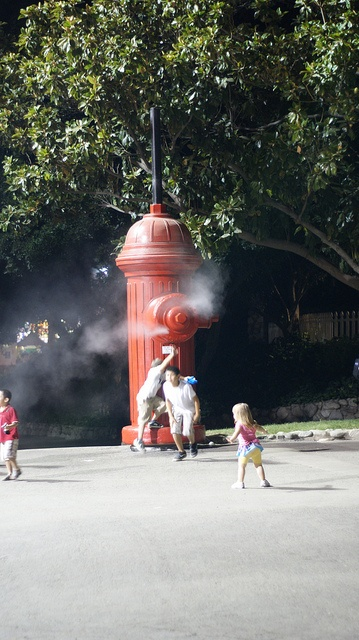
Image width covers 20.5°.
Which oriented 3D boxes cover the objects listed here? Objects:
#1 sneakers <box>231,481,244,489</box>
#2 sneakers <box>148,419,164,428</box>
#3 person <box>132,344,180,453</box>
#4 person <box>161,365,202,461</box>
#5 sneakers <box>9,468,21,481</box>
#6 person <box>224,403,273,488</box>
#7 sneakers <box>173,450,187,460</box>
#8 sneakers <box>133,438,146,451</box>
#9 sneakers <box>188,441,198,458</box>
[{"bbox_3d":[0.478,1.335,8.029,0.106,0.064,0.141,-2,2,3],"label":"sneakers"},{"bbox_3d":[-0.251,1.133,10.787,0.167,0.112,0.061,0,6,-11],"label":"sneakers"},{"bbox_3d":[-0.223,0.861,10.618,0.486,1.547,0.442,2,26,-1],"label":"person"},{"bbox_3d":[0.040,0.934,10.091,0.301,0.918,0.419,-3,2,-23],"label":"person"},{"bbox_3d":[-1.465,1.401,9.002,0.135,0.066,0.050,-28,-7,18],"label":"sneakers"},{"bbox_3d":[0.602,1.055,8.572,0.331,0.708,1.263,-2,2,3],"label":"person"},{"bbox_3d":[0.014,1.355,9.874,0.053,0.080,0.165,0,-5,19],"label":"sneakers"},{"bbox_3d":[-0.428,1.346,10.658,0.115,0.169,0.366,-2,2,-4],"label":"sneakers"},{"bbox_3d":[0.135,1.302,10.010,0.051,0.172,0.067,-2,-7,18],"label":"sneakers"}]
